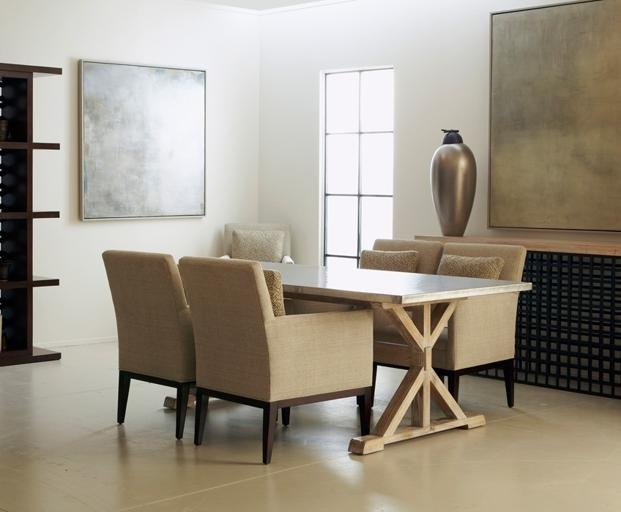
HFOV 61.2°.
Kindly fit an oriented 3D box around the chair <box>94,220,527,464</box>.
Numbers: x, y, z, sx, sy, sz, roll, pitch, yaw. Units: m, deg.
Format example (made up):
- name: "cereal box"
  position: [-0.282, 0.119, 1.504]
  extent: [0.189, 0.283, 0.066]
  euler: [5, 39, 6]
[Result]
- name: "chair"
  position: [0.159, 0.464, 3.134]
  extent: [2.398, 1.147, 1.586]
  euler: [2, -2, -34]
